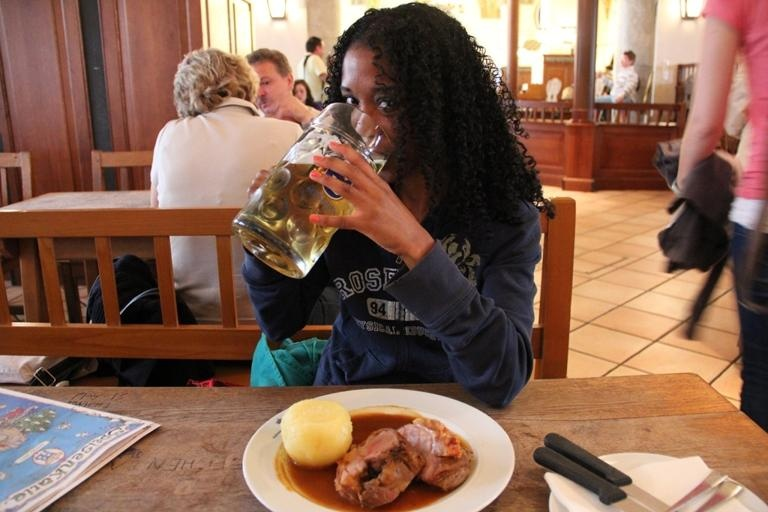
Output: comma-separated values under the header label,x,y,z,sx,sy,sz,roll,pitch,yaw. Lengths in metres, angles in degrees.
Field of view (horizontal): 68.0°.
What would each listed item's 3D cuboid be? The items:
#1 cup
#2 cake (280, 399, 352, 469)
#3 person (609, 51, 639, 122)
label,x,y,z,sx,sy,sz,roll,pitch,yaw
cup,-0.144,-0.130,1.029,0.166,0.247,0.164,24,-1,1
cake,-0.111,0.284,0.928,0.106,0.065,0.098,3,16,-6
person,3.381,-2.473,8.005,0.361,0.933,2.069,3,16,22
